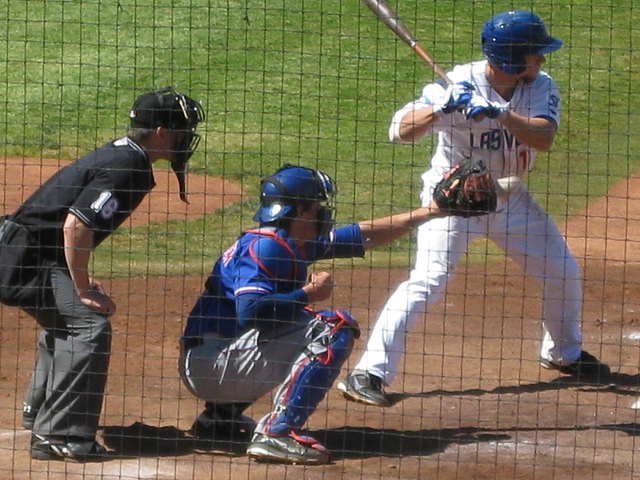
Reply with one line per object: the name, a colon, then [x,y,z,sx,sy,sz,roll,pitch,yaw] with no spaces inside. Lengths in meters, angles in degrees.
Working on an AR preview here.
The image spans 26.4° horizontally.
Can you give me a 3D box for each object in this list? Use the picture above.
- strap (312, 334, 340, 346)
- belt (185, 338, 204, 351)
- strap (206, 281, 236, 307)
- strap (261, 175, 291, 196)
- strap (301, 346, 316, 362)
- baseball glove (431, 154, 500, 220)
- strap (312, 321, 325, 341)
strap: [0.040,0.667,9.125,0.063,0.173,0.046,47,25,-55]
belt: [-0.853,0.698,9.138,0.128,0.079,0.018,13,5,-3]
strap: [-0.680,0.360,9.172,0.250,0.140,0.036,14,3,16]
strap: [-0.279,-0.380,9.068,0.183,0.138,0.119,31,22,-3]
strap: [-0.076,0.756,9.054,0.103,0.066,0.040,49,8,30]
baseball glove: [0.921,-0.396,9.442,0.551,0.366,0.380,11,8,-24]
strap: [-0.029,0.607,9.148,0.100,0.093,0.083,14,-3,-9]
